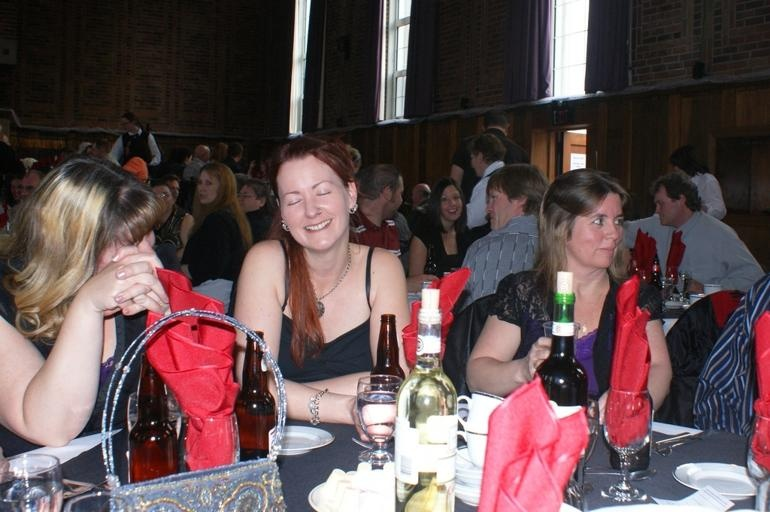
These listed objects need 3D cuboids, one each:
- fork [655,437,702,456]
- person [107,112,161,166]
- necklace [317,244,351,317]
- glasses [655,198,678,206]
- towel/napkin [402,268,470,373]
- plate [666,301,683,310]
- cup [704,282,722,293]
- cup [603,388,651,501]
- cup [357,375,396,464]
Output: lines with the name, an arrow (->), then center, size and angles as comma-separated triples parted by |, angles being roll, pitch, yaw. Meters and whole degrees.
fork -> 0.755, 0.494, 1.611 | 0.101, 0.005, 0.042 | -8, 6, -32
person -> -3.762, -1.641, 9.163 | 0.808, 0.888, 0.543 | -9, -1, -27
necklace -> -0.177, 0.087, 2.193 | 0.054, 0.236, 0.137 | 9, -4, -27
glasses -> 2.000, -0.380, 4.345 | 0.093, 0.055, 0.068 | -4, -1, -1
towel/napkin -> 0.155, 0.194, 1.761 | 0.169, 0.126, 0.330 | -21, -33, -19
plate -> 1.640, 0.280, 3.486 | 0.054, 0.023, 0.063 | -3, 3, -23
cup -> 1.831, 0.180, 3.434 | 0.070, 0.051, 0.068 | 0, -2, 0
cup -> 0.554, 0.429, 1.409 | 0.100, 0.216, 0.160 | 1, 6, 22
cup -> -0.016, 0.396, 1.499 | 0.101, 0.202, 0.165 | -2, 6, 0
